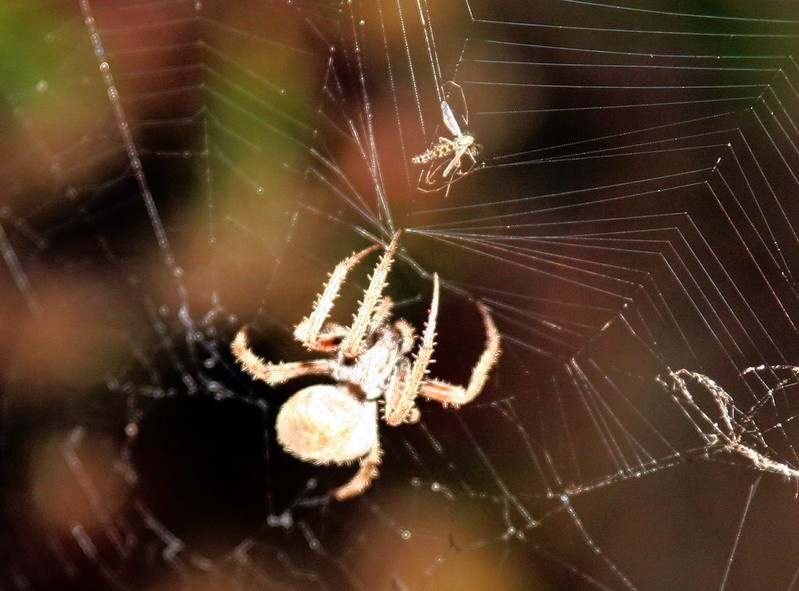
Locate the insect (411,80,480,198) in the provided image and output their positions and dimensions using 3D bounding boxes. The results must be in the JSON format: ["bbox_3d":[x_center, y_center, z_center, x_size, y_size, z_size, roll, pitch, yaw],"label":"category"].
[{"bbox_3d":[0.190,-0.604,3.079,0.239,0.357,0.219,-22,86,-5],"label":"insect"}]
